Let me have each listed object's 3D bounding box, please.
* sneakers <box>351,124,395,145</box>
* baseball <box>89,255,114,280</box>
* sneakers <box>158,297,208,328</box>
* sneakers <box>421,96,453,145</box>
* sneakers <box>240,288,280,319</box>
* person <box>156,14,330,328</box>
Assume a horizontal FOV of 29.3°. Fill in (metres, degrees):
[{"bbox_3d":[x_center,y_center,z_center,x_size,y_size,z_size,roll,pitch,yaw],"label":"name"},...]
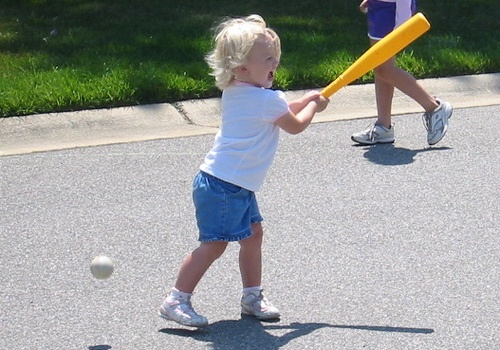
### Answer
[{"bbox_3d":[1.166,-0.372,8.893,0.414,0.162,0.168,0,3,-13],"label":"sneakers"},{"bbox_3d":[-1.068,0.667,6.843,0.175,0.160,0.184,16,52,-28],"label":"baseball"},{"bbox_3d":[-0.463,0.947,6.715,0.427,0.188,0.201,11,11,37],"label":"sneakers"},{"bbox_3d":[1.717,-0.477,8.785,0.240,0.466,0.181,28,-23,-17],"label":"sneakers"},{"bbox_3d":[0.074,0.918,6.801,0.339,0.205,0.171,7,10,44],"label":"sneakers"},{"bbox_3d":[-0.067,-0.009,6.674,0.695,1.941,1.452,11,35,26],"label":"person"}]
